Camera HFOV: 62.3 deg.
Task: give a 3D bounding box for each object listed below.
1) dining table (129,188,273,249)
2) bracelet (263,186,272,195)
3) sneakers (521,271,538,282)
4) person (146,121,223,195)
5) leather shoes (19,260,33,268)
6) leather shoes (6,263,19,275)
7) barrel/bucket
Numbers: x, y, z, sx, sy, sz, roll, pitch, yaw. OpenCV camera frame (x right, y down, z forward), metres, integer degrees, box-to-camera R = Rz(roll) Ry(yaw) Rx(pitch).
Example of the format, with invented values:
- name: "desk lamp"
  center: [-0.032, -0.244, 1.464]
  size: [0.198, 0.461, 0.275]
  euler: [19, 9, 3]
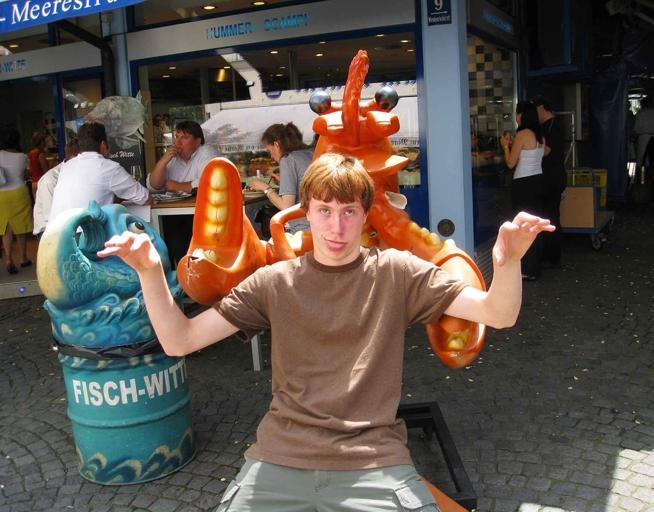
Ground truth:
- name: "dining table"
  center: [-1.352, -0.447, 5.129]
  size: [0.806, 0.555, 0.450]
  euler: [-4, -1, 2]
- name: "bracelet"
  center: [-0.574, -0.647, 5.304]
  size: [0.082, 0.119, 0.041]
  euler: [7, 1, -14]
- name: "sneakers"
  center: [2.643, 0.269, 7.065]
  size: [0.166, 0.072, 0.174]
  euler: [0, 7, 6]
- name: "person"
  center: [-1.703, -1.043, 6.486]
  size: [0.859, 1.125, 0.666]
  euler: [2, 5, 8]
- name: "leather shoes"
  center: [-4.632, 0.106, 8.339]
  size: [0.090, 0.073, 0.196]
  euler: [1, 12, 1]
- name: "leather shoes"
  center: [-4.650, 0.167, 7.998]
  size: [0.143, 0.166, 0.313]
  euler: [-9, 13, -31]
- name: "barrel/bucket"
  center: [-1.126, 0.906, 3.416]
  size: [0.746, 0.874, 0.780]
  euler: [-3, 4, 0]
